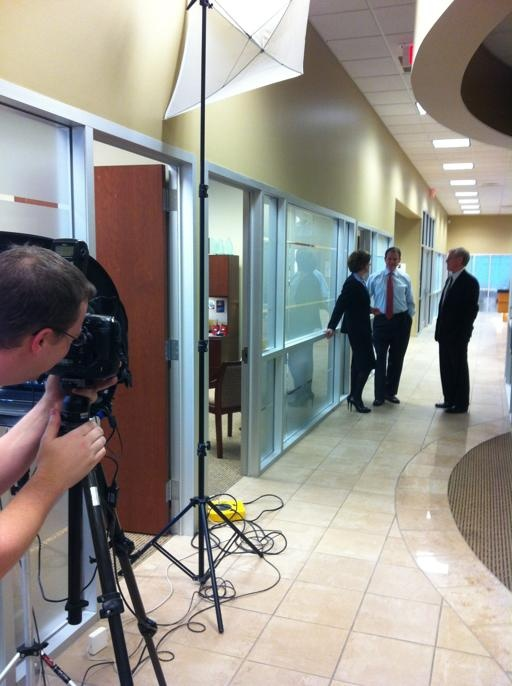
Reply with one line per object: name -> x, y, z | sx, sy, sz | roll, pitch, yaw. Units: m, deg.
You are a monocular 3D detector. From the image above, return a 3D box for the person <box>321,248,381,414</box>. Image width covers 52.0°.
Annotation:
person -> 0.988, -0.088, 5.378 | 0.459, 1.692, 0.737 | 0, 6, 14

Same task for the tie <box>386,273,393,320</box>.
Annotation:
tie -> 1.462, -0.510, 5.711 | 0.078, 0.497, 0.162 | 1, 6, 15

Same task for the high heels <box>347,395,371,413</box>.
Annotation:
high heels -> 1.142, 0.658, 5.673 | 0.303, 0.263, 0.115 | 2, 5, 17

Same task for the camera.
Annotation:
camera -> -0.304, 0.011, 0.969 | 0.120, 0.141, 0.093 | 5, 8, 35

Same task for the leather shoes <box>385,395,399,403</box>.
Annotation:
leather shoes -> 1.565, 0.642, 6.001 | 0.159, 0.082, 0.058 | 5, 8, 43

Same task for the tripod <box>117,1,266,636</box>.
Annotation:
tripod -> -0.254, -0.192, 2.323 | 0.568, 2.601, 1.060 | -2, 6, -6

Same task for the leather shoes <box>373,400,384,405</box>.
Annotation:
leather shoes -> 1.364, 0.673, 5.816 | 0.051, 0.053, 0.127 | 9, -17, -17

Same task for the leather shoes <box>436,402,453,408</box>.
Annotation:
leather shoes -> 2.059, 0.668, 5.740 | 0.150, 0.078, 0.056 | -1, 18, 26

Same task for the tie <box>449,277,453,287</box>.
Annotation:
tie -> 2.005, -0.636, 5.394 | 0.037, 0.094, 0.122 | 1, 7, 20

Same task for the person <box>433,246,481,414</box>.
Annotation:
person -> 2.110, -0.117, 5.508 | 0.416, 1.718, 0.428 | 1, 6, 17
